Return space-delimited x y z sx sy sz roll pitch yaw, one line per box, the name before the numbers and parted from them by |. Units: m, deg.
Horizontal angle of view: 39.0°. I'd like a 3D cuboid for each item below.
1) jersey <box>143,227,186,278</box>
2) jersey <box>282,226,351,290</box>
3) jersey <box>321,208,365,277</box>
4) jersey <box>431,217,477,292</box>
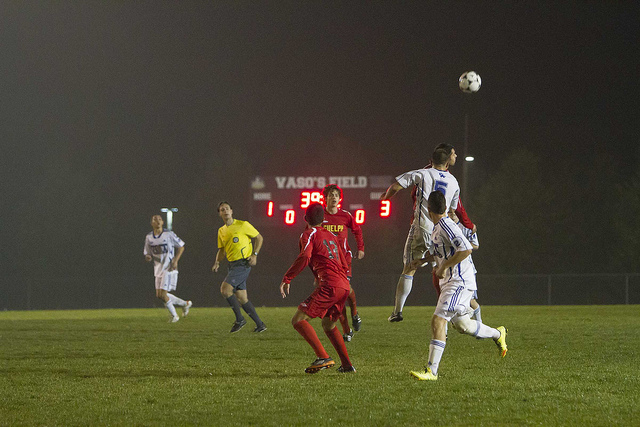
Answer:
jersey | -3.965 0.985 22.923 0.928 1.259 0.406 1 -9 -2
jersey | 0.008 0.905 18.733 1.214 1.289 0.443 1 -9 -1
jersey | 0.581 0.593 21.012 0.776 1.735 0.880 1 -1 -10
jersey | 2.713 0.820 18.484 0.849 1.468 0.443 -1 -9 9
